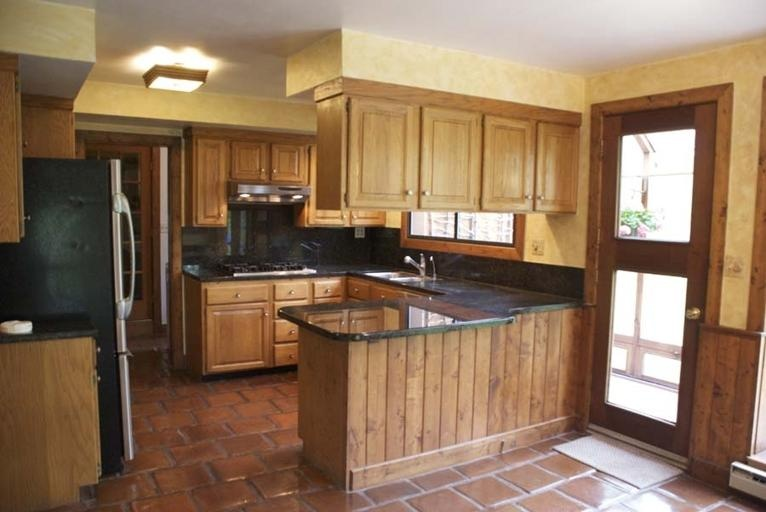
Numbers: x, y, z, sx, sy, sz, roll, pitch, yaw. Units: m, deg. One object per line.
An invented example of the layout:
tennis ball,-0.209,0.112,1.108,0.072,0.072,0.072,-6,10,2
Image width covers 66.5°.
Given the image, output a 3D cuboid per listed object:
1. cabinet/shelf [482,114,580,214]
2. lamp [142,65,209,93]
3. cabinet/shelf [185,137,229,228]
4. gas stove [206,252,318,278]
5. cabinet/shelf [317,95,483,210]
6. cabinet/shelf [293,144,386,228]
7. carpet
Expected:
cabinet/shelf,1.197,-0.763,5.119,1.082,0.755,0.437,-1,4,-26
lamp,-1.770,-1.498,4.929,0.294,0.067,0.289,-1,-1,35
cabinet/shelf,-1.800,-0.778,6.090,0.391,0.921,0.187,-2,14,-13
gas stove,-1.286,0.129,6.455,1.218,0.166,0.825,-4,12,-24
cabinet/shelf,0.140,-0.791,4.772,1.511,0.821,0.479,-5,10,-43
cabinet/shelf,-0.432,-0.632,5.112,1.049,0.826,0.359,2,-2,-32
carpet,1.861,1.617,4.655,0.559,0.039,0.788,-7,14,-37
